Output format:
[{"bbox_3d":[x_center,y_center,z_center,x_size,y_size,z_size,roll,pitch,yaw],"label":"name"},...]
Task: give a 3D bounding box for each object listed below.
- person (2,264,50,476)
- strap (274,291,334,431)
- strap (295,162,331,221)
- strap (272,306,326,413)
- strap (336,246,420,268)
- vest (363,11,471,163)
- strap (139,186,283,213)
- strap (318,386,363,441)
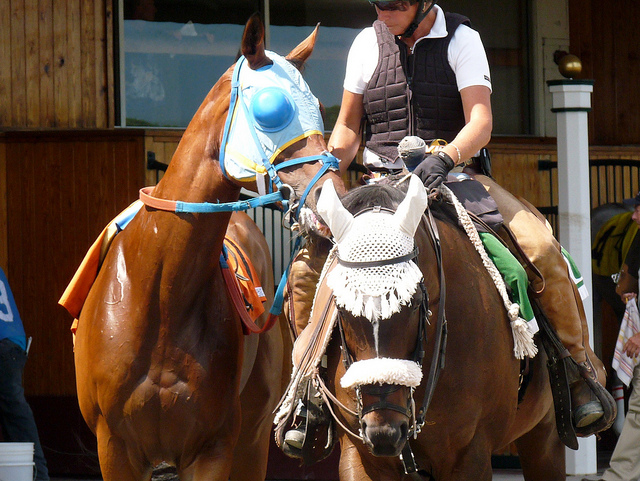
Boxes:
[{"bbox_3d":[-2.708,1.234,12.631,0.433,1.817,0.305,1,0,-1],"label":"person"},{"bbox_3d":[-0.103,0.878,10.137,0.340,0.977,0.334,-8,7,-31],"label":"strap"},{"bbox_3d":[-0.029,-0.384,10.050,0.071,0.329,0.301,29,11,32],"label":"strap"},{"bbox_3d":[-0.129,0.882,10.246,0.303,0.801,0.288,-11,9,-42],"label":"strap"},{"bbox_3d":[0.397,0.122,9.587,0.552,0.114,0.140,1,0,0],"label":"strap"},{"bbox_3d":[0.756,-1.231,11.029,0.830,0.963,0.327,1,0,3],"label":"vest"},{"bbox_3d":[-0.825,-0.309,10.339,1.182,0.169,0.224,1,0,23],"label":"strap"},{"bbox_3d":[0.149,1.217,9.963,0.273,0.375,0.243,-4,8,-17],"label":"strap"}]
